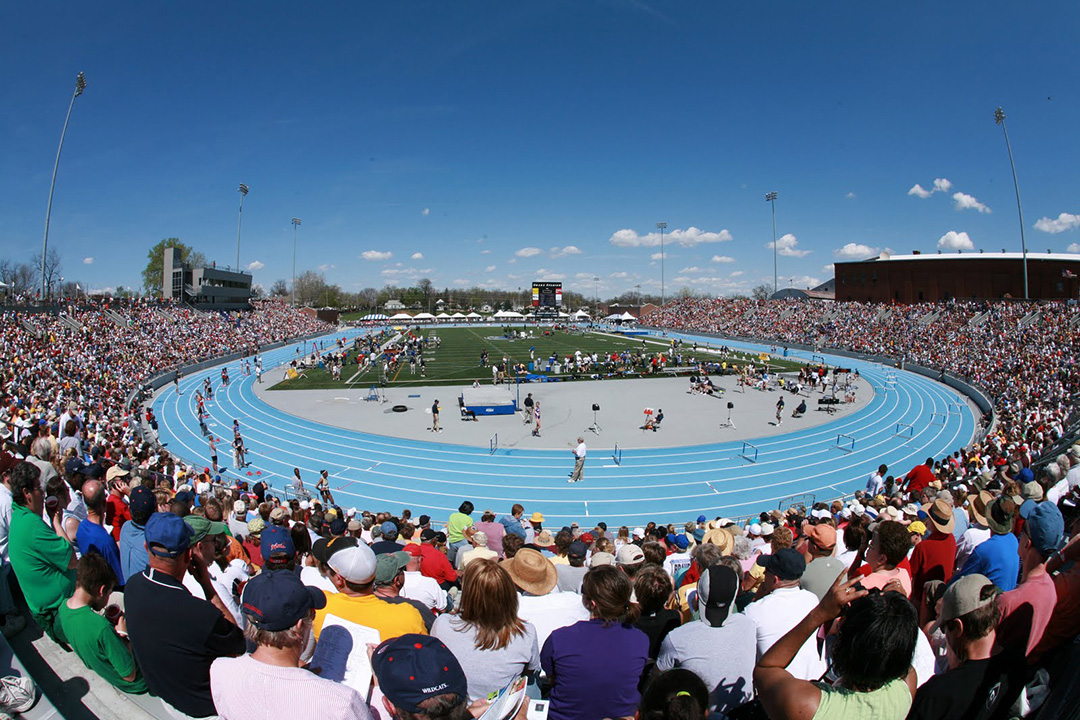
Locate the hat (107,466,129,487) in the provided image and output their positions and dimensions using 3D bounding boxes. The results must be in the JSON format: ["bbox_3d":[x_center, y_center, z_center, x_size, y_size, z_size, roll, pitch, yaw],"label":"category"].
[{"bbox_3d":[-6.424,1.782,11.661,0.244,0.132,0.365,-10,16,42],"label":"hat"}]

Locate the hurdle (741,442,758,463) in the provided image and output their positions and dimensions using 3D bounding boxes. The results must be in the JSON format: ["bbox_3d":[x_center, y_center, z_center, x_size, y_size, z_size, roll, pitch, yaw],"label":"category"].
[{"bbox_3d":[7.482,3.277,27.287,0.590,0.126,2.503,3,10,14],"label":"hurdle"}]
